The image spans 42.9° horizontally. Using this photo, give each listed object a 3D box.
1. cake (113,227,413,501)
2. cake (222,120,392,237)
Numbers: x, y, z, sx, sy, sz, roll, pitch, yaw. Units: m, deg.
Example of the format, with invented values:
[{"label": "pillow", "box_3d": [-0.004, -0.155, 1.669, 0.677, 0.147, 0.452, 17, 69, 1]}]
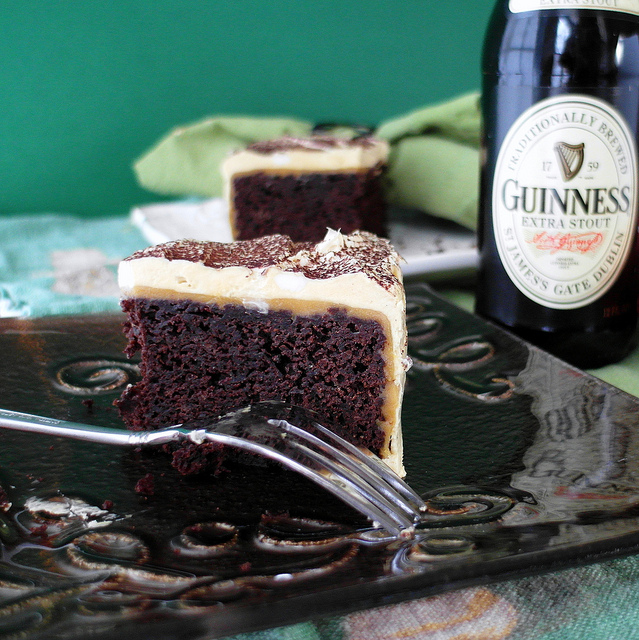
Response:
[{"label": "cake", "box_3d": [-0.082, 0.061, 0.991, 0.321, 0.248, 0.445, -3, -6, 31]}, {"label": "cake", "box_3d": [-0.030, -0.259, 1.457, 0.308, 0.157, 0.294, 12, 23, 36]}]
